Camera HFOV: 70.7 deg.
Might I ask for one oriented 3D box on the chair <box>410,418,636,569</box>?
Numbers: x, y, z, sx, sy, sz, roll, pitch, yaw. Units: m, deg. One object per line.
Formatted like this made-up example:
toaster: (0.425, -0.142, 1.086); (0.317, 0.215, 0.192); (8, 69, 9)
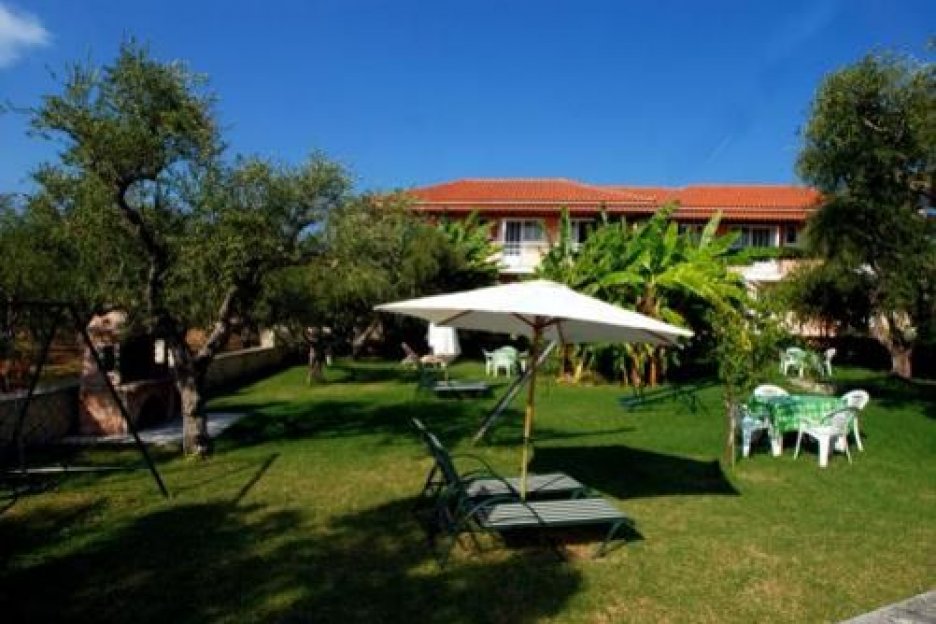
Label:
chair: (0.739, 2.800, 10.766); (2.949, 1.567, 2.098); (-1, 0, -3)

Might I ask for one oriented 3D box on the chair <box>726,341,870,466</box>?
chair: (7.011, 2.370, 14.046); (2.478, 1.390, 2.231); (-1, 0, 25)
